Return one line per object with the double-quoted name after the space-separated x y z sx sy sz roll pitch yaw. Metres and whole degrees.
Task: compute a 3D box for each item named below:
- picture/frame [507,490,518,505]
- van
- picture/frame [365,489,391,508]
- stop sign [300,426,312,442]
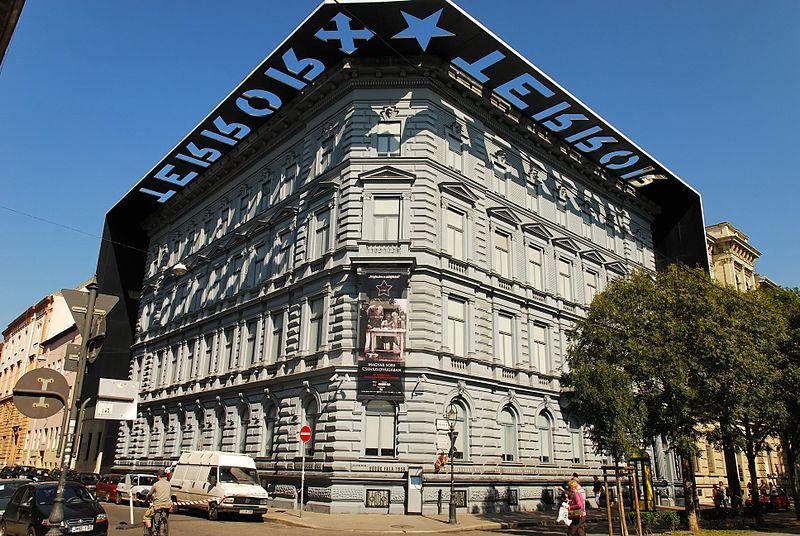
6.718 13.759 38.100 0.782 0.885 0.115 17 -30 -29 "picture/frame"
-9.562 11.394 33.684 5.327 3.714 1.915 -19 -31 34 "van"
-1.180 12.515 34.375 0.967 0.678 0.132 1 -22 -3 "picture/frame"
-4.850 8.540 32.983 0.404 0.940 0.997 0 -25 -1 "stop sign"
